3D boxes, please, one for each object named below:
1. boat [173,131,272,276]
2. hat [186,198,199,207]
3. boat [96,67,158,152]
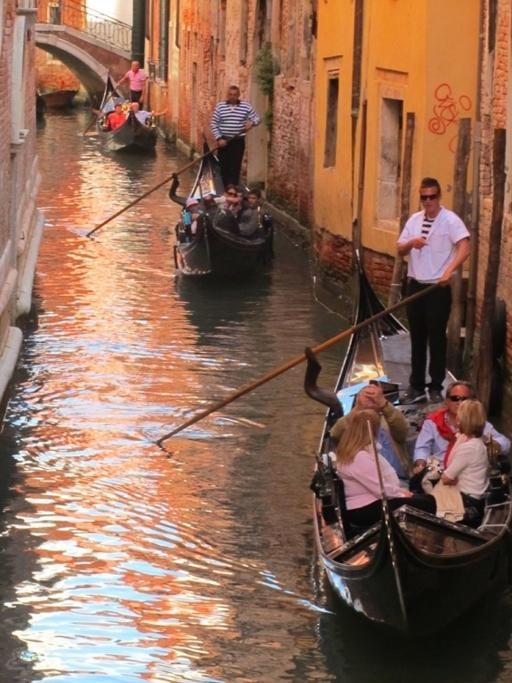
[{"bbox_3d":[-0.498,-1.772,12.311,0.895,1.096,2.923,-16,27,4],"label":"boat"},{"bbox_3d":[-0.867,-1.900,11.821,0.134,0.100,0.191,-7,-9,-9],"label":"hat"},{"bbox_3d":[-4.138,-7.133,27.651,1.437,1.748,4.906,-5,25,-8],"label":"boat"}]
